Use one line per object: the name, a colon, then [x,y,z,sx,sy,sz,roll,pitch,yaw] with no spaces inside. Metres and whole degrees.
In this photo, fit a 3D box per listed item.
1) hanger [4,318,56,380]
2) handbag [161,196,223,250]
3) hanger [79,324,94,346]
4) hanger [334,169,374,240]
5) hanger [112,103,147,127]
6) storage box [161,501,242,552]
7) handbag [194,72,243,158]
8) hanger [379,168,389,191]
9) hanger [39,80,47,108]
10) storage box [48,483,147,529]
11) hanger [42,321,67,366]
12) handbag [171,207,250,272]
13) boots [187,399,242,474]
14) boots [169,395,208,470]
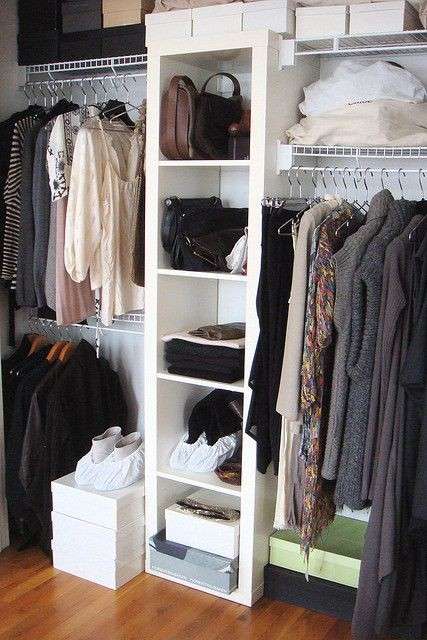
hanger: [-0.859,0.140,2.418,0.071,0.239,0.164,28,-22,-33]
handbag: [-0.079,-0.323,1.742,0.073,0.167,0.161,7,16,38]
hanger: [-0.599,0.067,2.450,0.089,0.071,0.065,3,2,36]
hanger: [0.433,-0.358,1.578,0.014,0.288,0.247,7,17,25]
hanger: [-0.299,-0.778,2.002,0.149,0.072,0.161,7,17,-7]
storage box: [-0.035,0.732,1.807,0.293,0.109,0.102,1,0,33]
handbag: [0.029,-0.690,1.750,0.177,0.274,0.113,-2,26,-18]
hanger: [0.573,-0.478,1.734,0.024,0.062,0.129,1,0,18]
hanger: [-0.793,-1.065,2.411,0.055,0.100,0.130,1,0,-19]
storage box: [-0.426,0.670,1.860,0.339,0.137,0.181,1,0,-4]
hanger: [-0.779,0.102,2.523,0.138,0.214,0.069,-4,2,-2]
handbag: [-0.022,-0.300,1.803,0.284,0.099,0.328,-13,-15,20]
boots: [-0.023,0.421,1.941,0.086,0.127,0.282,15,6,6]
boots: [-0.073,0.390,2.030,0.077,0.095,0.255,15,13,5]
